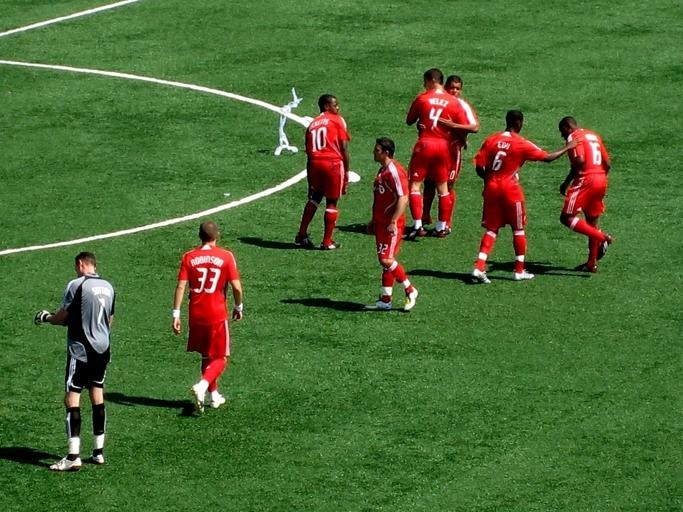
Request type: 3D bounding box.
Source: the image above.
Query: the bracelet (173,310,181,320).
[{"bbox_3d":[-2.269,0.779,23.419,0.122,0.108,0.109,10,-8,-34],"label":"bracelet"}]

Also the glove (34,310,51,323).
[{"bbox_3d":[-3.961,0.790,22.641,0.202,0.198,0.411,-1,10,-10],"label":"glove"}]

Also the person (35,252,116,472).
[{"bbox_3d":[-3.456,1.370,22.672,0.974,2.783,0.671,-4,11,-25],"label":"person"}]

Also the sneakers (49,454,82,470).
[{"bbox_3d":[-3.642,2.693,22.661,0.424,0.179,0.173,1,1,5],"label":"sneakers"}]

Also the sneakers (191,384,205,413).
[{"bbox_3d":[-1.966,1.915,23.242,0.141,0.389,0.208,5,15,45],"label":"sneakers"}]

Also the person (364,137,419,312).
[{"bbox_3d":[0.745,-0.472,25.478,0.713,2.568,0.483,3,10,16],"label":"person"}]

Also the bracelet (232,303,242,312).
[{"bbox_3d":[-1.448,0.685,23.610,0.098,0.066,0.075,1,9,2],"label":"bracelet"}]

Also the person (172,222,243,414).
[{"bbox_3d":[-1.851,0.797,23.517,0.900,2.552,1.189,1,10,3],"label":"person"}]

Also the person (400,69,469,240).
[{"bbox_3d":[1.578,-1.670,27.895,1.151,2.723,0.983,2,6,-8],"label":"person"}]
